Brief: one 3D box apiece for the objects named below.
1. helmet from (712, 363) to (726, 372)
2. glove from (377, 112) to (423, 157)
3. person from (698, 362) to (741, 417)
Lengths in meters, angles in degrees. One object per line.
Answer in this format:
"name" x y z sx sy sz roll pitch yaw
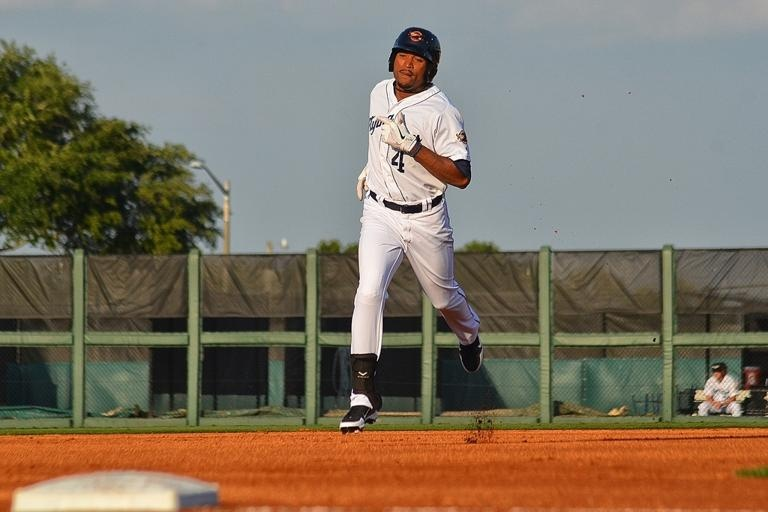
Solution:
"helmet" 6.271 2.082 33.714 0.270 0.167 0.226 -3 -8 5
"glove" 0.220 -1.936 29.185 0.722 0.531 0.242 28 -9 0
"person" 6.266 2.613 33.740 0.780 1.156 0.627 -1 1 13
